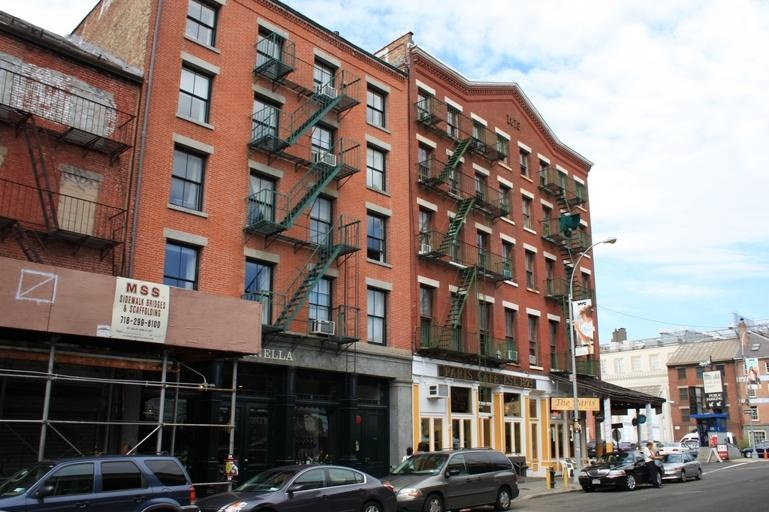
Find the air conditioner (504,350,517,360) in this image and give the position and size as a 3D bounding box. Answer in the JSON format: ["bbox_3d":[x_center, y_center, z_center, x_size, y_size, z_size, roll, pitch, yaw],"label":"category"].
[{"bbox_3d":[6.940,5.597,42.446,0.327,0.562,0.650,-9,-15,44],"label":"air conditioner"}]

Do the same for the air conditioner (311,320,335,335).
[{"bbox_3d":[-2.696,3.163,33.253,0.658,0.483,1.057,-9,-14,36],"label":"air conditioner"}]

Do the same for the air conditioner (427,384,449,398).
[{"bbox_3d":[2.436,6.807,38.067,0.839,0.616,1.207,-9,-13,19],"label":"air conditioner"}]

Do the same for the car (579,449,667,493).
[{"bbox_3d":[11.111,10.270,36.274,3.673,1.974,1.571,6,-22,-17],"label":"car"}]

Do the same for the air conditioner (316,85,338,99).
[{"bbox_3d":[-2.724,-7.719,35.604,0.895,0.724,1.369,5,5,15],"label":"air conditioner"}]

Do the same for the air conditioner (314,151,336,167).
[{"bbox_3d":[-2.738,-4.379,34.794,0.787,0.540,0.407,10,-34,-28],"label":"air conditioner"}]

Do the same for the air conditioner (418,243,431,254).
[{"bbox_3d":[1.989,-0.324,39.123,0.249,0.418,0.458,-20,-26,39],"label":"air conditioner"}]
